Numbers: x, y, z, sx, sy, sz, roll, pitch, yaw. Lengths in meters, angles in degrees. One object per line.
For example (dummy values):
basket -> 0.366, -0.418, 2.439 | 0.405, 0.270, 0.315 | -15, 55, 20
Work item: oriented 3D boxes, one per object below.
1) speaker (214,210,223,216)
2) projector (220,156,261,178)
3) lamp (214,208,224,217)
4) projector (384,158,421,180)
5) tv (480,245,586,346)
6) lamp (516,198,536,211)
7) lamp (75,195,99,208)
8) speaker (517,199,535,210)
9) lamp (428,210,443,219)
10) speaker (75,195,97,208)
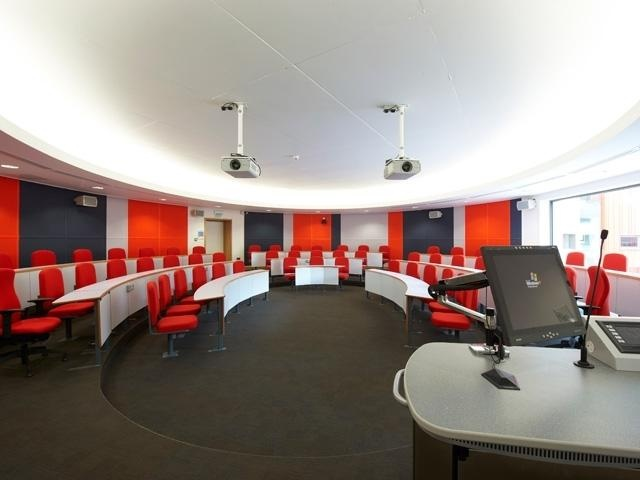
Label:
speaker -> -3.287, -0.860, 13.626 | 0.136, 0.191, 0.268 | -1, 0, 33
projector -> -1.268, -1.195, 6.794 | 0.655, 0.368, 0.980 | 0, 1, 0
lamp -> -3.271, -0.870, 13.632 | 0.190, 0.279, 0.280 | -4, -2, 29
projector -> 1.338, -1.187, 6.977 | 0.532, 0.321, 0.408 | 1, 4, 5
tv -> 1.852, 0.447, 3.664 | 0.804, 0.803, 0.353 | -1, -2, -13
lamp -> 5.092, -0.889, 10.526 | 0.404, 0.253, 0.442 | -10, -1, -13
lamp -> -5.474, -0.890, 9.753 | 0.282, 0.185, 0.283 | 5, 1, 19
speaker -> 5.085, -0.894, 10.501 | 0.371, 0.229, 0.395 | -4, -3, -20
lamp -> 3.685, -0.728, 13.411 | 0.227, 0.312, 0.439 | 5, -3, -31
speaker -> -5.454, -0.919, 9.920 | 0.342, 0.297, 0.628 | 1, 5, 9
